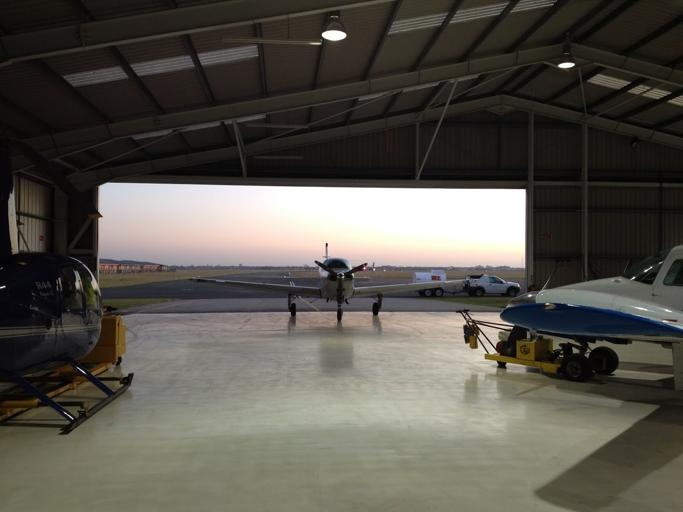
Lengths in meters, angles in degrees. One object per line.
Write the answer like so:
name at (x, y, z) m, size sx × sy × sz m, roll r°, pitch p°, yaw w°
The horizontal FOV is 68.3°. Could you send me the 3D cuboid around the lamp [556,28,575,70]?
lamp at (6.293, -5.771, 14.165) m, size 0.416 × 0.941 × 0.589 m, roll 0°, pitch 2°, yaw 22°
